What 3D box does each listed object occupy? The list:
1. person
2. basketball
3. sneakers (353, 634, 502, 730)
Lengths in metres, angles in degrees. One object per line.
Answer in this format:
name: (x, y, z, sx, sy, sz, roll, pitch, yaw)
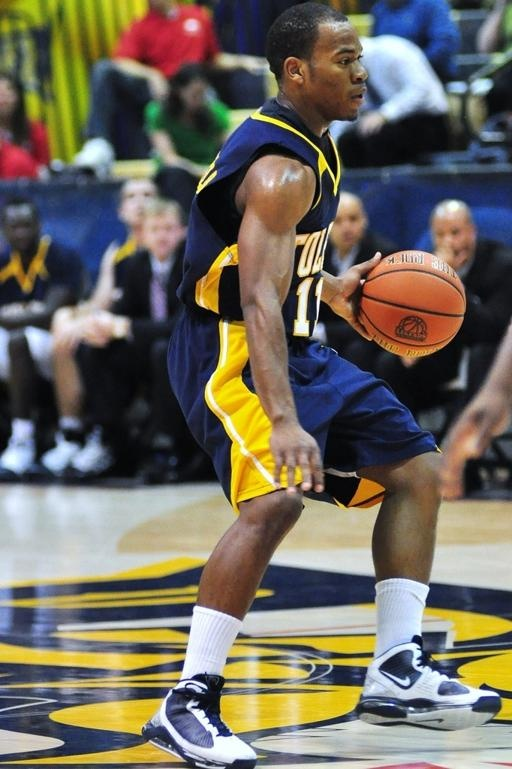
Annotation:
person: (0.076, -0.016, 1.726, 0.603, 1.324, 0.880, -2, 20, -8)
basketball: (0.333, -0.169, 2.130, 0.228, 0.233, 0.221, 2, 4, 1)
sneakers: (0.342, 0.535, 1.696, 0.338, 0.199, 0.113, 0, -24, 5)
